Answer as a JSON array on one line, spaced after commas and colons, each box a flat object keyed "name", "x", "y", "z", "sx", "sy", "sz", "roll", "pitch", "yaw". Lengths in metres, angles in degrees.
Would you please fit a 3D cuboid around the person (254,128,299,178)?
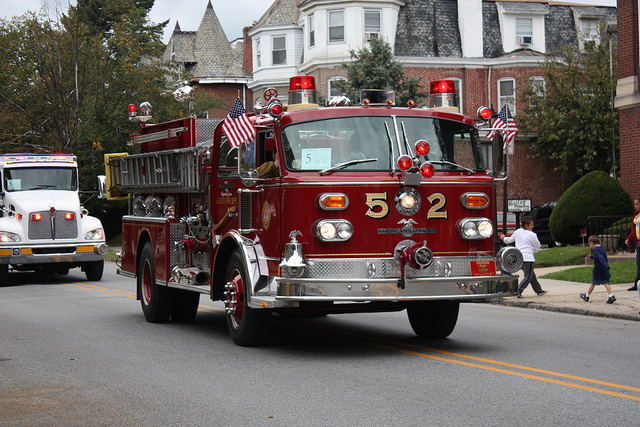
[{"name": "person", "x": -0.626, "y": -0.980, "z": 10.780, "sx": 0.562, "sy": 0.802, "sz": 0.280, "roll": 0, "pitch": 11, "yaw": -13}]

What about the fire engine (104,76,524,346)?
[{"name": "fire engine", "x": -1.398, "y": -0.194, "z": 13.031, "sx": 10.055, "sy": 5.005, "sz": 3.653, "roll": 0, "pitch": 2, "yaw": 40}]

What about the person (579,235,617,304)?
[{"name": "person", "x": 6.763, "y": 1.307, "z": 16.272, "sx": 0.790, "sy": 1.536, "sz": 1.472, "roll": 0, "pitch": 2, "yaw": 22}]

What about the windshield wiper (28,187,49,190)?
[{"name": "windshield wiper", "x": -9.340, "y": -0.836, "z": 22.302, "sx": 0.443, "sy": 0.063, "sz": 0.069, "roll": -2, "pitch": 2, "yaw": -38}]
